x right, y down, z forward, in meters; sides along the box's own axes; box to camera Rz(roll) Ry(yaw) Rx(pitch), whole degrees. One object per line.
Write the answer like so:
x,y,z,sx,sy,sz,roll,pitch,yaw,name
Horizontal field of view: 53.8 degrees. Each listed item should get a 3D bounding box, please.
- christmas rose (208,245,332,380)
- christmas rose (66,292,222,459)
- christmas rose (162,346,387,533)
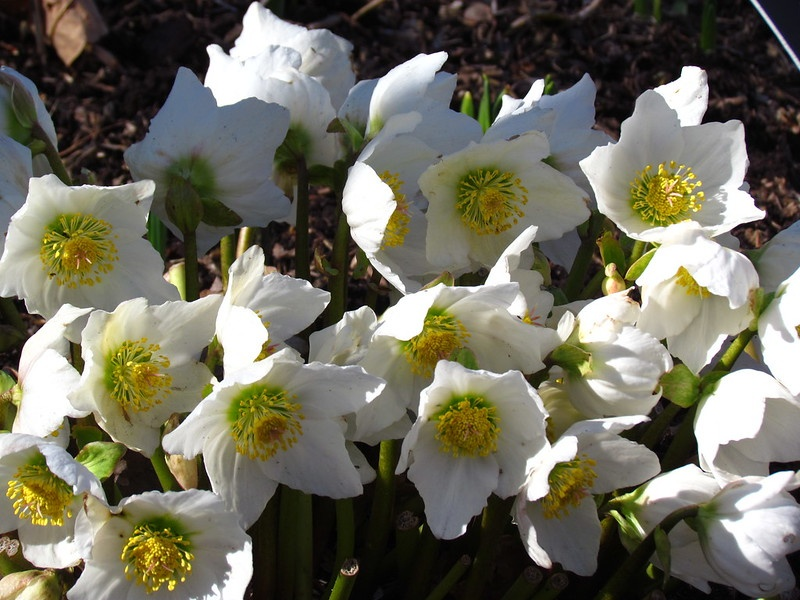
-0.242,0.004,1.366,0.094,0.209,0.226,8,80,33,christmas rose
-0.442,0.122,1.358,0.216,0.115,0.311,24,84,-39,christmas rose
-0.212,0.223,1.306,0.346,0.267,0.184,-3,54,-17,christmas rose
